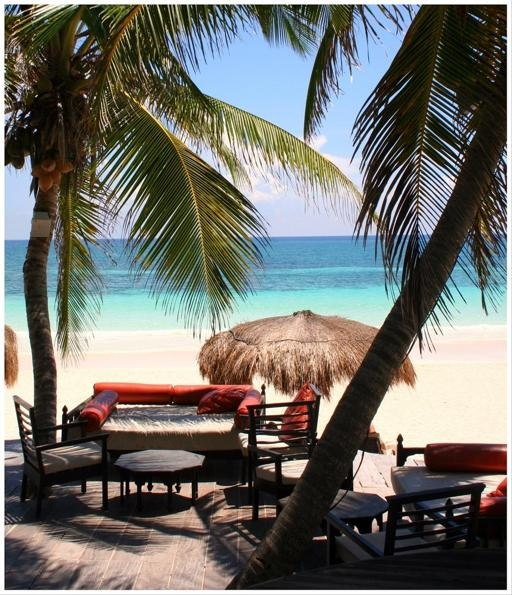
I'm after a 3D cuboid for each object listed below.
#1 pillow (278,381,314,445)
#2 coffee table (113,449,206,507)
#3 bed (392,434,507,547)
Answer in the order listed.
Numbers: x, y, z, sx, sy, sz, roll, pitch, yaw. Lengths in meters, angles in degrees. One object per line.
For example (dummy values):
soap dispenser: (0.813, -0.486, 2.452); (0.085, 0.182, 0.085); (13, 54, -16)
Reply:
pillow: (0.409, 1.159, 5.375); (0.324, 0.252, 0.552); (1, 1, 0)
coffee table: (-0.935, 1.741, 5.285); (0.803, 0.487, 0.991); (5, -1, -7)
bed: (1.625, 1.411, 4.176); (0.722, 0.703, 1.046); (0, -4, 0)
